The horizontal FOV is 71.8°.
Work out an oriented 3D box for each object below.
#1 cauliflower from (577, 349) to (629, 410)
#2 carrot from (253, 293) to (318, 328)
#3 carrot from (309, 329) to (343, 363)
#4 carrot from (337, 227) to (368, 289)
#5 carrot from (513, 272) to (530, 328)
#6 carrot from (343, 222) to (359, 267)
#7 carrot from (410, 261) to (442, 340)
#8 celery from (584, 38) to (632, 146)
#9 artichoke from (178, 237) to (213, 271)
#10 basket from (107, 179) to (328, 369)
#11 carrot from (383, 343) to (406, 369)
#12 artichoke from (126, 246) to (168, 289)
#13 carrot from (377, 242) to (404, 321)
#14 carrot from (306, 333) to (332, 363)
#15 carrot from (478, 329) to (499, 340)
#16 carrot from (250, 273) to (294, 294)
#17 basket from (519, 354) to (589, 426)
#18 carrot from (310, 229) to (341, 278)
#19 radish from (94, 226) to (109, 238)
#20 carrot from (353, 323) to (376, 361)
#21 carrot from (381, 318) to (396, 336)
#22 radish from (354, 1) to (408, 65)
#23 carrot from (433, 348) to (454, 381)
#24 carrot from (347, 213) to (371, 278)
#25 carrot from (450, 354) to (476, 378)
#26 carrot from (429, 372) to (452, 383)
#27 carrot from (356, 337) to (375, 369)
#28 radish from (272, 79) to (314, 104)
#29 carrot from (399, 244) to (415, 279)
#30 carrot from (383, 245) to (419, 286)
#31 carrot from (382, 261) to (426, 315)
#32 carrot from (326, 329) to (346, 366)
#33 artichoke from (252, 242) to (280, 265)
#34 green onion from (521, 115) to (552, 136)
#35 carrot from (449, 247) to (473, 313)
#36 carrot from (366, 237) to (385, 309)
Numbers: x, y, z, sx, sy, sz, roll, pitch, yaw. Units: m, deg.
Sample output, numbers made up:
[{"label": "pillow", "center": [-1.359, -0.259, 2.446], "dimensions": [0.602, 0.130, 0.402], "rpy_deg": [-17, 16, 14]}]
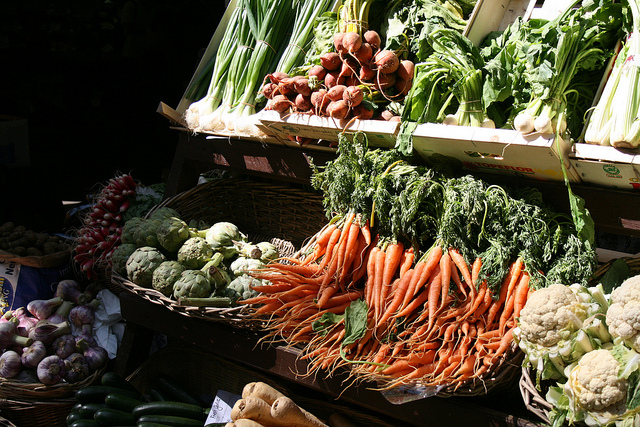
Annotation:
[{"label": "cauliflower", "center": [1.046, 0.623, 1.653], "dimensions": [0.161, 0.215, 0.105], "rpy_deg": [-11, -26, 35]}, {"label": "carrot", "center": [-0.174, 0.467, 2.337], "dimensions": [0.435, 0.051, 0.109], "rpy_deg": [-17, 16, -18]}, {"label": "carrot", "center": [0.044, 0.645, 2.189], "dimensions": [0.030, 0.144, 0.039], "rpy_deg": [39, -19, 43]}, {"label": "carrot", "center": [0.147, 0.218, 2.346], "dimensions": [0.083, 0.458, 0.117], "rpy_deg": [21, 24, 22]}, {"label": "carrot", "center": [0.884, 0.380, 1.942], "dimensions": [0.043, 0.244, 0.040], "rpy_deg": [5, 5, -44]}, {"label": "carrot", "center": [0.164, 0.160, 2.332], "dimensions": [0.045, 0.238, 0.046], "rpy_deg": [20, -3, 27]}, {"label": "carrot", "center": [0.544, 0.389, 2.173], "dimensions": [0.099, 0.419, 0.089], "rpy_deg": [21, -10, -17]}, {"label": "celery", "center": [1.253, -0.472, 1.955], "dimensions": [0.131, 0.609, 0.096], "rpy_deg": [12, -15, 39]}, {"label": "artichoke", "center": [-0.755, 0.236, 2.637], "dimensions": [0.180, 0.176, 0.114], "rpy_deg": [-27, -18, 28]}, {"label": "basket", "center": [-0.540, 0.229, 2.854], "dimensions": [1.100, 0.418, 1.359], "rpy_deg": [11, 36, 20]}, {"label": "carrot", "center": [0.343, 0.667, 2.090], "dimensions": [0.025, 0.122, 0.023], "rpy_deg": [48, -21, -7]}, {"label": "artichoke", "center": [-1.028, 0.307, 2.684], "dimensions": [0.209, 0.197, 0.242], "rpy_deg": [37, 34, 19]}, {"label": "carrot", "center": [0.355, 0.328, 2.256], "dimensions": [0.076, 0.401, 0.089], "rpy_deg": [21, -12, -21]}, {"label": "carrot", "center": [-0.002, 0.676, 2.220], "dimensions": [0.020, 0.186, 0.020], "rpy_deg": [47, -12, -28]}, {"label": "carrot", "center": [0.778, 0.558, 2.042], "dimensions": [0.110, 0.035, 0.034], "rpy_deg": [-15, -14, -4]}, {"label": "carrot", "center": [-0.256, 0.376, 2.371], "dimensions": [0.291, 0.084, 0.048], "rpy_deg": [13, -15, 7]}, {"label": "basket", "center": [0.917, 0.761, 1.813], "dimensions": [0.245, 0.274, 0.100], "rpy_deg": [-24, -42, 20]}, {"label": "carrot", "center": [0.041, 0.207, 2.412], "dimensions": [0.058, 0.296, 0.052], "rpy_deg": [32, -1, 22]}, {"label": "radish", "center": [-1.504, 0.119, 3.036], "dimensions": [0.124, 0.053, 0.027], "rpy_deg": [24, 24, 30]}, {"label": "carrot", "center": [0.215, 0.630, 2.177], "dimensions": [0.027, 0.196, 0.027], "rpy_deg": [32, 1, -4]}, {"label": "carrot", "center": [0.328, 0.540, 2.119], "dimensions": [0.015, 0.070, 0.014], "rpy_deg": [42, 1, -19]}, {"label": "radish", "center": [0.336, -0.996, 2.460], "dimensions": [0.251, 0.173, 0.447], "rpy_deg": [43, 30, -17]}, {"label": "carrot", "center": [0.567, 0.690, 2.042], "dimensions": [0.043, 0.154, 0.034], "rpy_deg": [45, -12, -15]}, {"label": "carrot", "center": [0.202, 0.137, 2.287], "dimensions": [0.046, 0.201, 0.042], "rpy_deg": [19, -2, 30]}, {"label": "carrot", "center": [0.646, 0.689, 1.999], "dimensions": [0.026, 0.124, 0.025], "rpy_deg": [52, -24, -18]}, {"label": "carrot", "center": [0.548, 0.744, 2.014], "dimensions": [0.014, 0.014, 0.097], "rpy_deg": [27, -43, -27]}, {"label": "carrot", "center": [0.216, 0.680, 2.146], "dimensions": [0.021, 0.160, 0.031], "rpy_deg": [5, -39, 54]}, {"label": "radish", "center": [-0.162, -0.670, 2.432], "dimensions": [0.251, 0.155, 0.103], "rpy_deg": [16, 21, 12]}, {"label": "carrot", "center": [0.437, 0.233, 2.255], "dimensions": [0.056, 0.189, 0.050], "rpy_deg": [31, -26, -9]}, {"label": "carrot", "center": [0.428, 0.248, 2.207], "dimensions": [0.040, 0.183, 0.047], "rpy_deg": [43, -26, -28]}, {"label": "carrot", "center": [0.433, 0.320, 2.204], "dimensions": [0.073, 0.420, 0.085], "rpy_deg": [23, -4, 21]}, {"label": "carrot", "center": [0.075, 0.667, 2.192], "dimensions": [0.031, 0.192, 0.028], "rpy_deg": [26, -16, 15]}, {"label": "artichoke", "center": [-0.336, 0.243, 2.737], "dimensions": [0.065, 0.118, 0.141], "rpy_deg": [-22, -31, 31]}, {"label": "green onion", "center": [0.938, -0.376, 1.916], "dimensions": [0.099, 0.100, 0.055], "rpy_deg": [20, 22, 23]}, {"label": "carrot", "center": [0.663, 0.310, 2.092], "dimensions": [0.050, 0.287, 0.060], "rpy_deg": [-23, -10, 6]}, {"label": "carrot", "center": [0.281, 0.304, 2.252], "dimensions": [0.049, 0.345, 0.049], "rpy_deg": [7, -5, 22]}]
